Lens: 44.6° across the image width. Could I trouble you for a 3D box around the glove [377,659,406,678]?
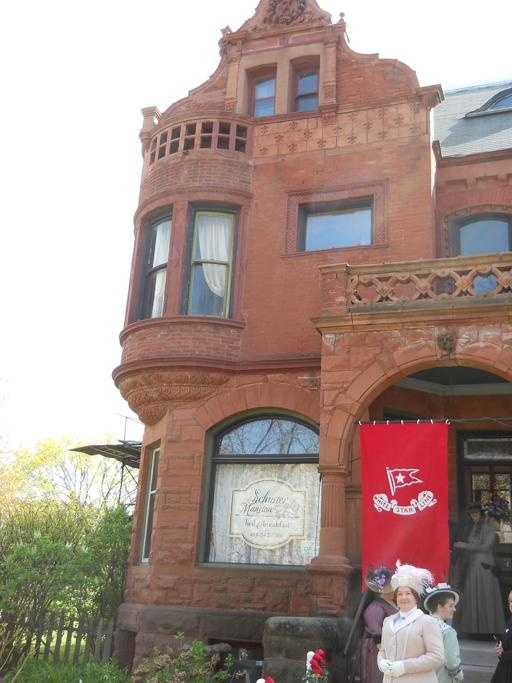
[{"bbox_3d":[0.736,1.773,3.431,0.110,0.057,0.136,15,-31,5],"label":"glove"}]
